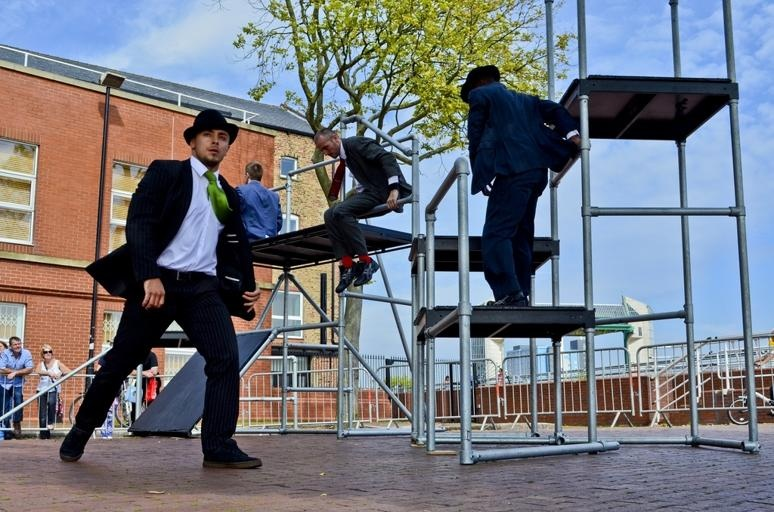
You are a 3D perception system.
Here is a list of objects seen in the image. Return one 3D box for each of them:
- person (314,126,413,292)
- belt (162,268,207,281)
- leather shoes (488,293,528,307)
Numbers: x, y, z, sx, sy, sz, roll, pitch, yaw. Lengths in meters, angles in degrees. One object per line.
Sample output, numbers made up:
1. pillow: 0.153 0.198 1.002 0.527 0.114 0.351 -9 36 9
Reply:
1. person: -0.413 -0.781 17.321 1.406 2.738 1.052 -1 -11 -4
2. belt: -2.505 0.244 13.473 0.532 0.146 0.072 2 -12 -19
3. leather shoes: 1.596 0.596 14.142 0.590 0.200 0.185 2 -12 -3
